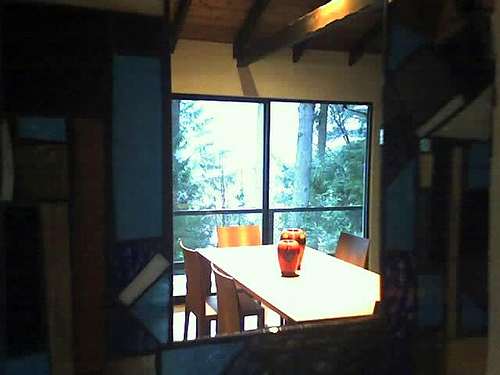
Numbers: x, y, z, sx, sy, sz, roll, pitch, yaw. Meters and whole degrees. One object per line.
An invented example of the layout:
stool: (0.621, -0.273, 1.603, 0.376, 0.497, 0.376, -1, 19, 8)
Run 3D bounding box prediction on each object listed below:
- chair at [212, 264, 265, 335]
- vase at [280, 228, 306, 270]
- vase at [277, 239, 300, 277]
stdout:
chair: (-0.080, 0.580, 2.432, 0.215, 0.343, 0.175, -9, -21, 10)
vase: (0.197, 0.321, 2.548, 0.129, 0.222, 0.137, -10, 34, -11)
vase: (0.201, 0.336, 2.413, 0.090, 0.175, 0.182, 2, 3, 42)
